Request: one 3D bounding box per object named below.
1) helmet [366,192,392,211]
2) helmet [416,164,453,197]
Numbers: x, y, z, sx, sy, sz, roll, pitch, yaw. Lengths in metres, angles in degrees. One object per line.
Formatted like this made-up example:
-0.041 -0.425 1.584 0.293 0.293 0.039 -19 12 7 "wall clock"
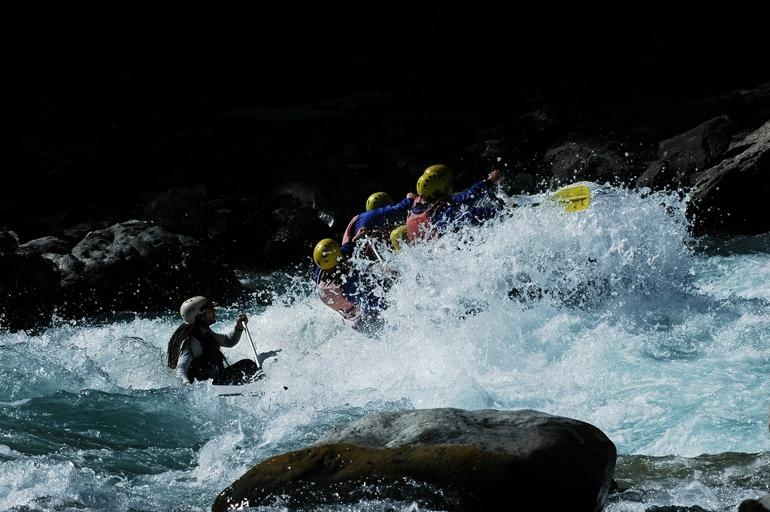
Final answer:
-0.111 -0.957 16.645 0.425 0.356 0.303 -19 13 -4 "helmet"
0.880 -1.216 15.661 0.612 0.507 0.436 13 18 5 "helmet"
